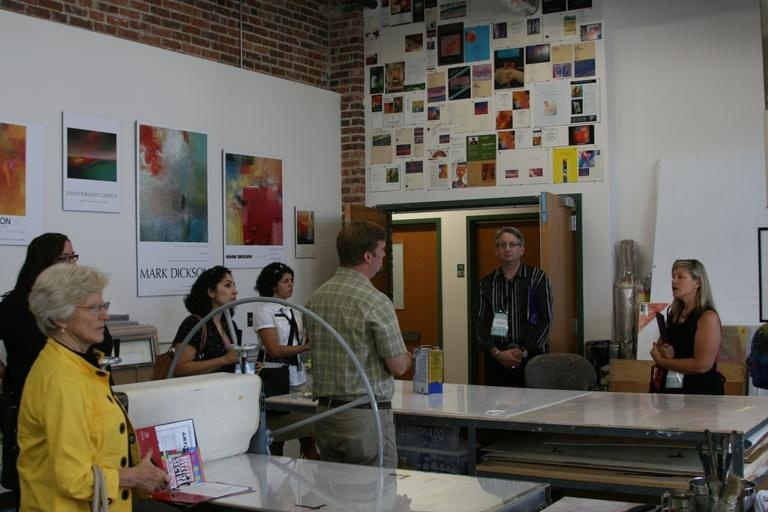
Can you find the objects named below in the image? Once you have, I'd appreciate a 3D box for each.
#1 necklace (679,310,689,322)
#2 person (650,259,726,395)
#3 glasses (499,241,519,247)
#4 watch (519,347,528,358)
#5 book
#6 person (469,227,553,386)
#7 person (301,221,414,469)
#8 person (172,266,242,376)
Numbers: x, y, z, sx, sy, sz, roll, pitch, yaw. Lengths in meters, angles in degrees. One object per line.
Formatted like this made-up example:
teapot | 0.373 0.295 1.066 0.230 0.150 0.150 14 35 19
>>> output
necklace | 2.139 0.432 4.170 0.020 0.071 0.038 40 -28 -19
person | 2.153 0.518 4.171 0.444 0.973 0.395 -1 2 28
glasses | 1.135 -0.099 5.357 0.166 0.052 0.060 -2 1 16
watch | 1.248 0.859 5.189 0.093 0.060 0.084 32 13 20
book | -0.865 0.890 2.577 0.247 0.360 0.356 -12 -12 27
person | 1.163 0.459 5.348 0.705 1.428 0.570 -2 1 15
person | -0.171 0.498 3.336 0.612 1.389 0.410 -1 2 40
person | -1.266 0.468 4.144 0.449 0.588 0.822 -2 1 -17
